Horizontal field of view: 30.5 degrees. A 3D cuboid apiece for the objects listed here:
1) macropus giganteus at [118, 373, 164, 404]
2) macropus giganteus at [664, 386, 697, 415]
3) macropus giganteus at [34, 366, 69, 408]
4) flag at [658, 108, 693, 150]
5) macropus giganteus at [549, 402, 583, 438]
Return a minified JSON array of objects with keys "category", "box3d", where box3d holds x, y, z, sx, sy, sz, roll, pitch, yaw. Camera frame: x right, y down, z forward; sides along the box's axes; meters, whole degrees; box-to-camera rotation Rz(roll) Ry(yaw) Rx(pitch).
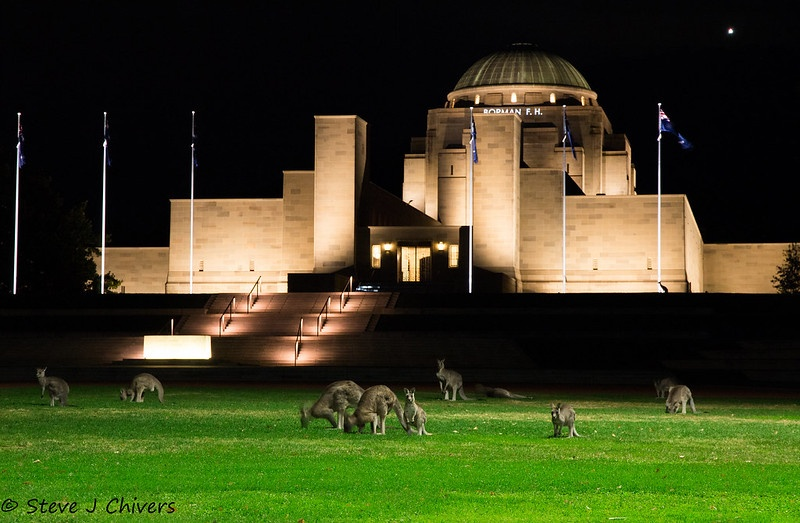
[{"category":"macropus giganteus","box3d":[-9.482,4.671,53.923,1.553,0.920,1.317,2,7,-10]},{"category":"macropus giganteus","box3d":[10.287,5.030,53.280,0.980,1.022,1.610,6,8,24]},{"category":"macropus giganteus","box3d":[-12.585,4.546,52.806,1.853,1.148,0.705,15,5,34]},{"category":"flag","box3d":[15.249,-7.334,81.452,1.629,2.024,4.870,4,7,10]},{"category":"macropus giganteus","box3d":[5.436,5.173,47.728,0.869,1.053,1.104,4,7,7]}]
